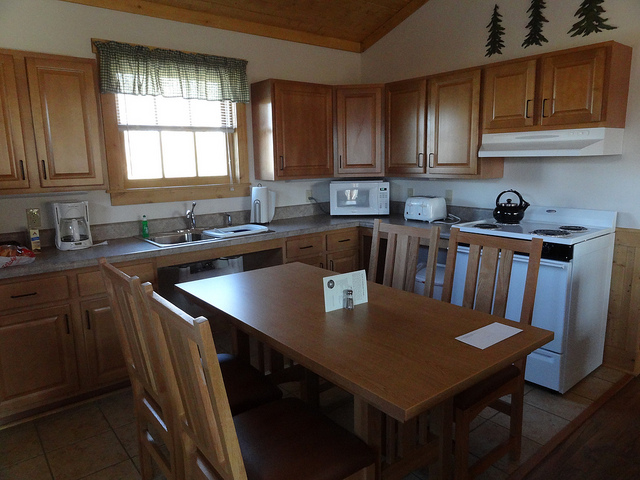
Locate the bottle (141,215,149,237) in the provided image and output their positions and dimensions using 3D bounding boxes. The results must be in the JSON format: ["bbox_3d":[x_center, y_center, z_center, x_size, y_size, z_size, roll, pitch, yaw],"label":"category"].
[{"bbox_3d":[-1.468,-0.119,3.920,0.052,0.170,0.122,-7,13,-19],"label":"bottle"}]

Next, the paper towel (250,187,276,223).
[{"bbox_3d":[-0.548,-0.339,4.442,0.233,0.352,0.223,-1,0,1],"label":"paper towel"}]

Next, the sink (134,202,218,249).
[{"bbox_3d":[-1.168,-0.066,3.863,0.467,0.424,0.495,-5,11,-40],"label":"sink"}]

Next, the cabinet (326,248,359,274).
[{"bbox_3d":[0.214,0.201,4.414,0.357,0.222,0.201,-6,9,-38],"label":"cabinet"}]

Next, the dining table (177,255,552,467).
[{"bbox_3d":[0.148,0.814,2.684,0.978,0.866,1.798,-13,16,-37],"label":"dining table"}]

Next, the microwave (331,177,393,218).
[{"bbox_3d":[0.391,-0.414,4.606,0.548,0.352,0.376,-1,6,-9],"label":"microwave"}]

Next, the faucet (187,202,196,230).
[{"bbox_3d":[-1.130,-0.214,4.137,0.079,0.227,0.151,-6,13,-13],"label":"faucet"}]

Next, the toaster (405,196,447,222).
[{"bbox_3d":[1.013,-0.291,4.406,0.248,0.202,0.307,-3,5,-42],"label":"toaster"}]

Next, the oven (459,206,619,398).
[{"bbox_3d":[1.647,0.377,3.722,0.832,1.201,0.980,-8,11,-32],"label":"oven"}]
